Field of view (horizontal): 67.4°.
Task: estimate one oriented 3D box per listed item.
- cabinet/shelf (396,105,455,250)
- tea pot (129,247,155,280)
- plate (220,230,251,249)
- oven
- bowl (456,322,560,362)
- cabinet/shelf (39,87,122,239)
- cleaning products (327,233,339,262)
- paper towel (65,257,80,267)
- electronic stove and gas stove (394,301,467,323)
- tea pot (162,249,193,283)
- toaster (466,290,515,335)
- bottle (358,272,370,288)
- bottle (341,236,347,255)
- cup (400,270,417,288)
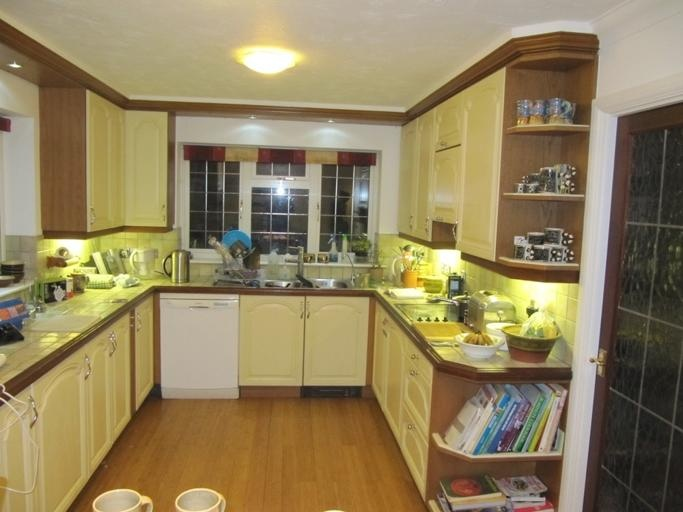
[{"bbox_3d":[0.733,-0.686,4.395,0.411,1.156,1.261,1,5,-4],"label":"cabinet/shelf"},{"bbox_3d":[-1.892,0.083,4.869,0.218,0.290,0.293,7,8,23],"label":"tea pot"},{"bbox_3d":[-1.055,-0.166,5.117,0.280,0.164,0.206,0,12,-9],"label":"plate"},{"bbox_3d":[-1.246,0.837,4.995,0.752,0.983,0.708,3,5,8],"label":"oven"},{"bbox_3d":[0.987,0.541,3.117,0.375,0.108,0.280,0,4,-7],"label":"bowl"},{"bbox_3d":[-2.087,-0.737,4.025,0.438,1.159,1.227,0,5,-11],"label":"cabinet/shelf"},{"bbox_3d":[-0.084,-0.081,5.463,0.120,0.277,0.159,2,13,-3],"label":"cleaning products"},{"bbox_3d":[-2.253,0.046,4.280,0.086,0.034,0.089,-22,10,-19],"label":"paper towel"},{"bbox_3d":[0.703,0.405,4.059,0.453,0.116,0.566,0,12,-10],"label":"electronic stove and gas stove"},{"bbox_3d":[-1.524,0.095,4.988,0.392,0.382,0.228,-1,4,-14],"label":"tea pot"},{"bbox_3d":[1.049,0.396,3.640,0.256,0.277,0.331,3,5,-8],"label":"toaster"},{"bbox_3d":[0.218,0.235,4.954,0.119,0.124,0.111,1,4,8],"label":"bottle"},{"bbox_3d":[0.035,-0.115,5.488,0.066,0.191,0.116,3,13,2],"label":"bottle"},{"bbox_3d":[0.649,0.218,4.930,0.153,0.168,0.152,3,1,0],"label":"cup"}]
